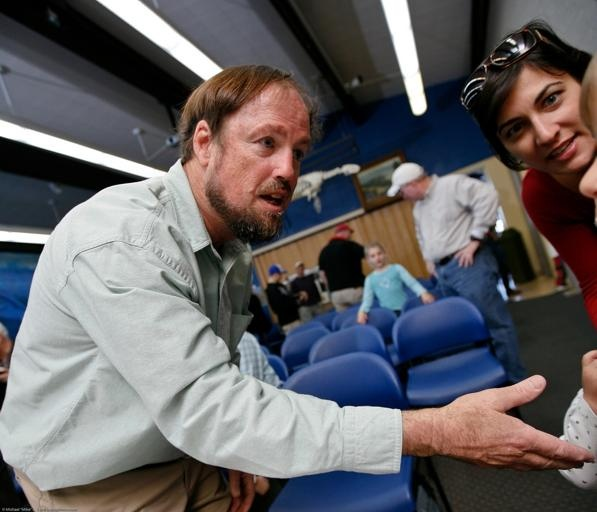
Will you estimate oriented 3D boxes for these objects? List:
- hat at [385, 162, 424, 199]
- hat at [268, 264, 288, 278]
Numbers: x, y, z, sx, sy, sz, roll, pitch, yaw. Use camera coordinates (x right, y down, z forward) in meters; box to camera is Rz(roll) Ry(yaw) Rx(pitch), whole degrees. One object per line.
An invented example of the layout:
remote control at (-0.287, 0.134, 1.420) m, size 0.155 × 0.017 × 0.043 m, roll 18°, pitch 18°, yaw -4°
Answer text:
hat at (0.492, -0.367, 2.122) m, size 0.160 × 0.100 × 0.115 m, roll -36°, pitch 11°, yaw 31°
hat at (-0.122, 0.080, 2.435) m, size 0.077 × 0.056 × 0.053 m, roll -5°, pitch 8°, yaw -29°
